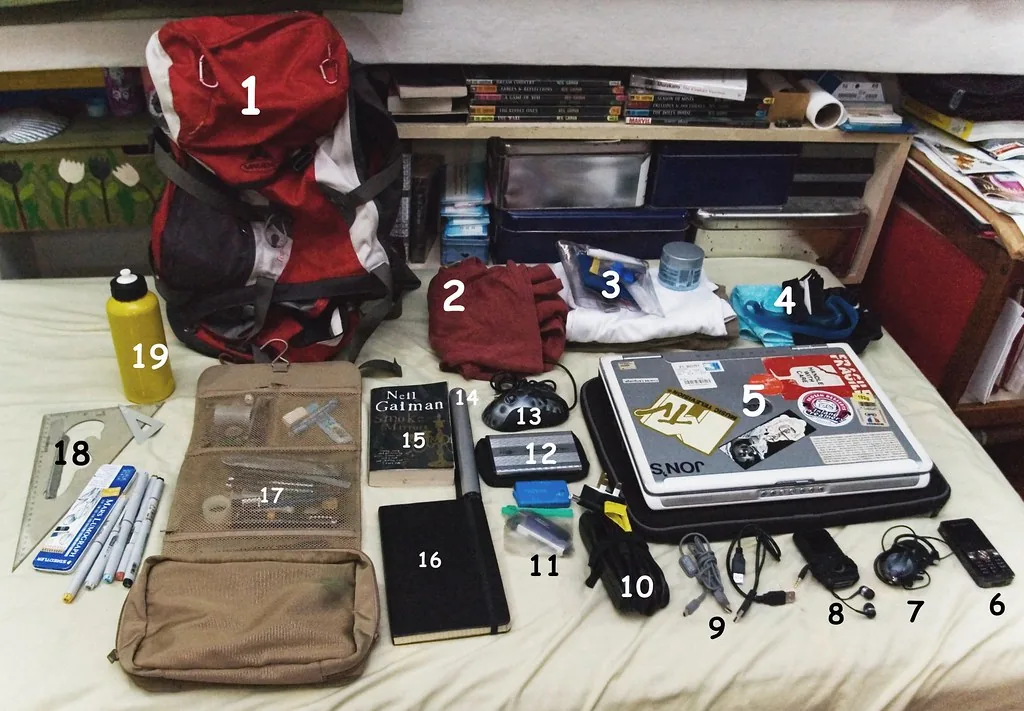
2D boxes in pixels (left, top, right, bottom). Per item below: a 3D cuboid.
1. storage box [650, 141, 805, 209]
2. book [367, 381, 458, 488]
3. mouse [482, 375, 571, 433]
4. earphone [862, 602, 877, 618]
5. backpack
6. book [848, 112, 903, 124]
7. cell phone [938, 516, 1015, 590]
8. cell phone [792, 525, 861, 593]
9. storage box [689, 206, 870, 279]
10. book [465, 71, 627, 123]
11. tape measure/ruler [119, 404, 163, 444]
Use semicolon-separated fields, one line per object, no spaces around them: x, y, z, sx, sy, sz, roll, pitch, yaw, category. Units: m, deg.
0.577;-0.483;2.197;0.296;0.136;0.200;-2;38;-4;storage box
-0.232;0.168;1.789;0.210;0.063;0.260;6;46;-5;book
0.028;0.109;1.823;0.169;0.060;0.108;-5;48;-6;mouse
0.675;0.480;1.533;0.018;0.023;0.021;-5;21;2;earphone
-0.538;-0.383;1.847;0.671;0.770;0.422;-7;38;-9;backpack
0.956;-0.623;2.140;0.067;0.013;0.059;3;31;5;book
0.918;0.385;1.599;0.075;0.027;0.130;-10;41;-11;cell phone
0.618;0.394;1.607;0.087;0.034;0.143;-7;34;-6;cell phone
0.716;-0.313;2.391;0.434;0.272;0.248;-2;2;-16;storage box
0.090;-0.647;2.064;0.412;0.127;0.038;-6;38;-5;book
-0.805;0.150;1.747;0.082;0.002;0.092;-25;55;-36;tape measure/ruler
